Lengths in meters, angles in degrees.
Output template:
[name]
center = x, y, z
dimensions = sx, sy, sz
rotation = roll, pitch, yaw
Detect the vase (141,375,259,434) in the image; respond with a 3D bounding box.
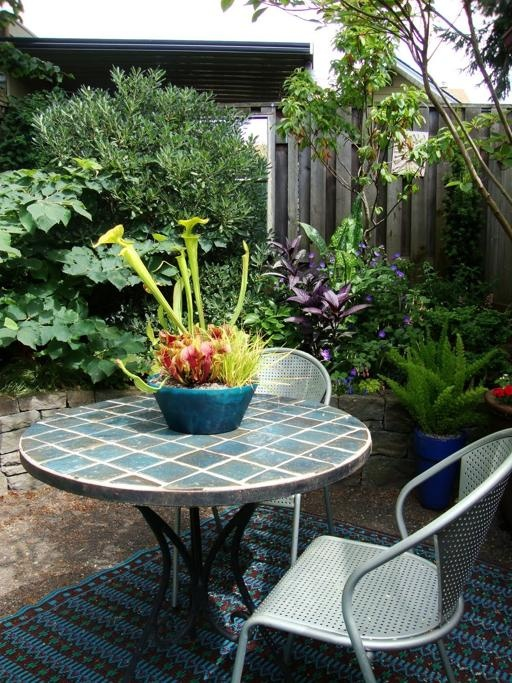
[vase]
center = -0.142, 0.168, 1.386
dimensions = 0.179, 0.069, 0.173
rotation = 2, 2, 14

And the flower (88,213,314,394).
[flower]
center = -0.322, -0.208, 2.750
dimensions = 1.209, 0.937, 0.880
rotation = 0, 11, -2
